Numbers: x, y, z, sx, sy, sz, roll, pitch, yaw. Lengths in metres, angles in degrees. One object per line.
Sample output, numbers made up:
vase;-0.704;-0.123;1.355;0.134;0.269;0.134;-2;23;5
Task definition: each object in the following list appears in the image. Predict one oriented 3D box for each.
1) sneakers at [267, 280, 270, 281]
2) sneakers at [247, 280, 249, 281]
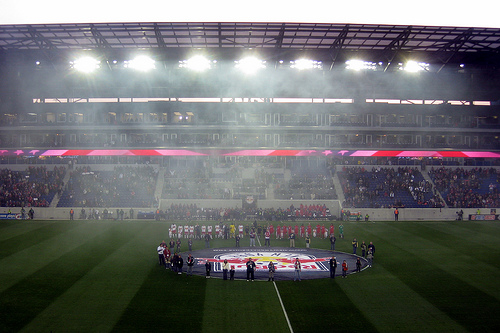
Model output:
sneakers;2.158;13.249;63.664;0.165;0.167;0.164;-4;-6;40
sneakers;-0.245;13.229;63.672;0.220;0.062;0.180;-1;25;0
